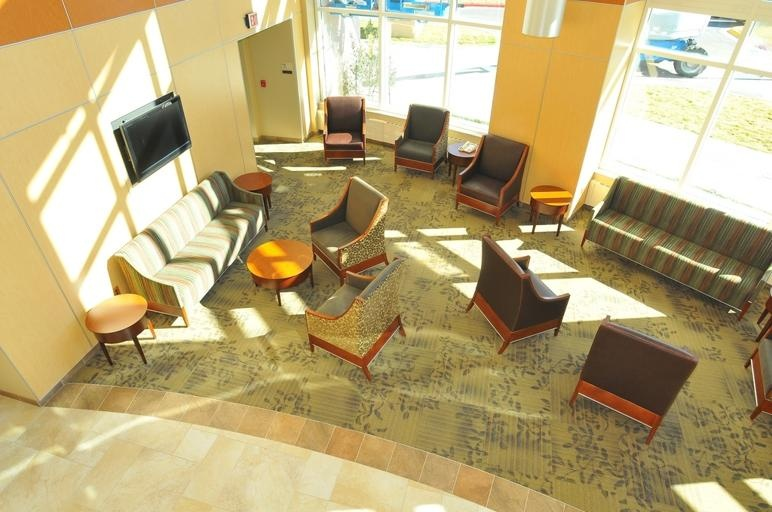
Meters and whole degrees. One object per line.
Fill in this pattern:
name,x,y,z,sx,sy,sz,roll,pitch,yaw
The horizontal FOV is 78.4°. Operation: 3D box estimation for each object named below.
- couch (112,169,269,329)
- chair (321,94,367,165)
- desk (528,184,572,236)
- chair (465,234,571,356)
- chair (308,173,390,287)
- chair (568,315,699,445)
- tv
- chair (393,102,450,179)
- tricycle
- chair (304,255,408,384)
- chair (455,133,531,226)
couch,-3.074,-0.291,7.815,1.107,1.080,2.604,14,41,8
chair,-0.896,-2.756,10.347,1.163,1.202,1.144,13,40,17
desk,2.999,-0.832,8.763,0.739,0.742,0.564,14,35,16
chair,1.994,0.657,7.170,0.996,1.326,0.953,-24,52,-12
chair,-0.616,-0.408,7.854,1.156,1.399,1.166,26,45,30
chair,3.219,1.702,6.182,0.923,1.333,0.997,21,51,23
tv,-3.550,-1.800,7.176,0.183,0.938,1.326,17,42,18
chair,0.777,-2.448,9.990,0.972,1.227,0.863,15,36,18
tricycle,4.887,-3.616,8.079,1.026,0.969,0.993,11,41,21
chair,-0.446,0.726,6.807,1.085,1.474,1.075,20,42,25
chair,2.010,-1.489,9.042,0.987,1.353,0.987,22,38,26
